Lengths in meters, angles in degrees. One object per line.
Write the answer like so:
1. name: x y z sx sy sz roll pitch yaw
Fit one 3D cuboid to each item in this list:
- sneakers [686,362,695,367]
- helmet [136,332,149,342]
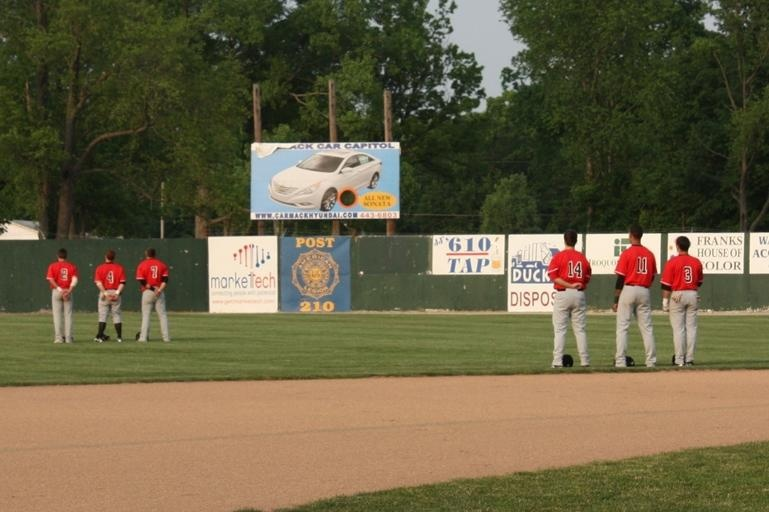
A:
1. sneakers: 15.238 5.369 92.738 0.310 0.250 0.657 -3 -2 42
2. helmet: -12.748 4.218 96.736 0.414 0.420 0.597 1 3 -9
